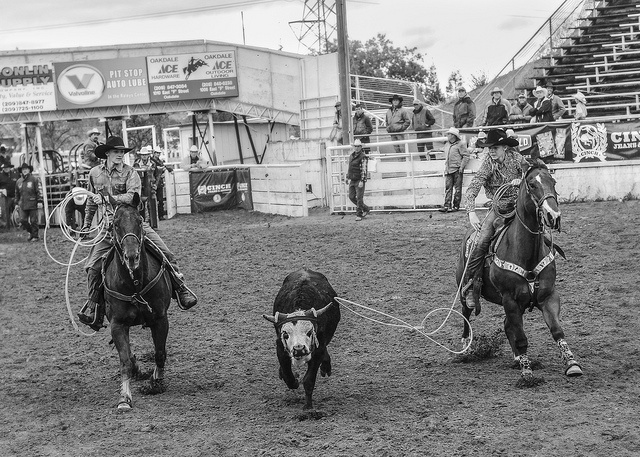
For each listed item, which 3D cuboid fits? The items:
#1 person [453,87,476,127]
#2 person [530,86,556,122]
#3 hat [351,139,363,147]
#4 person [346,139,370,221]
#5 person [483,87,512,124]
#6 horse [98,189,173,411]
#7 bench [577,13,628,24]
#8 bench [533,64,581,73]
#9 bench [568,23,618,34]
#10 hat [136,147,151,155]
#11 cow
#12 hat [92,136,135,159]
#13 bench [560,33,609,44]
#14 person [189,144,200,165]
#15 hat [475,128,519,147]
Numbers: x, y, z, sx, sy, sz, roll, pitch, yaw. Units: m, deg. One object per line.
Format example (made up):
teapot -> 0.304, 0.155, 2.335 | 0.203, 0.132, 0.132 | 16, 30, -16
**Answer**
person -> 4.336, -3.631, 23.356 | 0.602, 1.220, 0.910 | -2, 14, 11
person -> 6.564, -3.615, 22.968 | 0.677, 0.898, 1.140 | 0, 14, 16
hat -> 1.103, -2.480, 22.522 | 0.193, 0.214, 0.269 | 0, -4, 1
person -> 1.153, -1.458, 23.005 | 0.591, 2.358, 1.013 | -5, 13, -2
person -> 5.290, -3.630, 23.337 | 0.783, 1.121, 1.157 | -1, 14, 14
horse -> -2.710, 1.035, 11.164 | 0.823, 2.779, 1.434 | -2, 13, 7
bench -> 10.839, -7.989, 29.823 | 1.781, 0.390, 0.714 | 0, 14, 17
bench -> 8.770, -5.908, 28.942 | 1.472, 0.374, 0.640 | 9, 19, 44
bench -> 10.530, -7.568, 29.670 | 1.634, 0.312, 0.510 | 0, 14, 18
hat -> -5.998, -2.635, 26.689 | 0.494, 0.216, 0.548 | -2, 2, -3
cow -> -0.190, 1.592, 10.706 | 0.871, 1.575, 1.749 | -3, 14, 5
hat -> -3.117, -1.197, 11.675 | 0.506, 0.341, 0.463 | -9, 14, -18
bench -> 10.032, -7.159, 29.496 | 1.585, 0.341, 0.522 | -1, 14, 15
person -> -4.529, -2.618, 28.231 | 0.536, 0.886, 0.561 | 0, -4, -7
hat -> 2.669, -1.327, 11.462 | 0.479, 0.311, 0.522 | -1, 14, 14
